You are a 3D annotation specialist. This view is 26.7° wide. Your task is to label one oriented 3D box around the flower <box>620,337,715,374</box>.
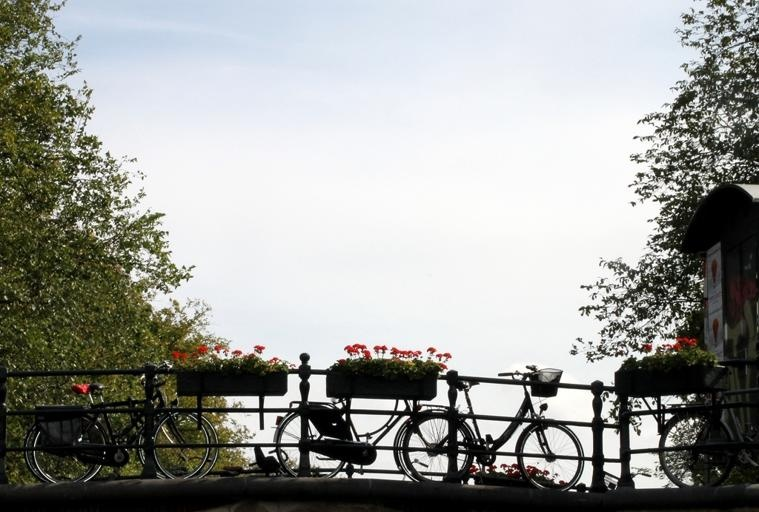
[{"bbox_3d":[5.911,2.041,32.464,1.808,0.618,0.608,1,-10,3],"label":"flower"}]
